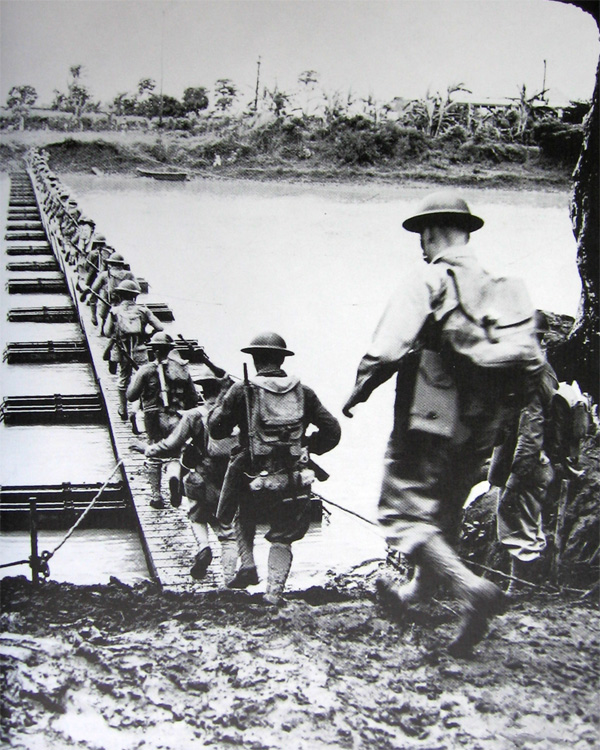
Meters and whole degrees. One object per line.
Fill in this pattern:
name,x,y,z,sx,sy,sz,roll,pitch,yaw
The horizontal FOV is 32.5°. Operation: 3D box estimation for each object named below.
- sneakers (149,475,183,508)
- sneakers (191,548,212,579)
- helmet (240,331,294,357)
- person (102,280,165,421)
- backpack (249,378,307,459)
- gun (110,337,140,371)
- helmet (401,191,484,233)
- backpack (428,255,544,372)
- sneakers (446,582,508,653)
sneakers,-0.837,0.738,6.422,0.126,0.304,0.140,14,23,3
sneakers,-0.613,1.182,6.449,0.125,0.187,0.087,20,3,-16
helmet,-0.206,-0.186,6.449,0.216,0.071,0.202,7,-3,-32
person,-1.165,-0.184,7.290,0.492,0.886,0.369,-1,1,6
backpack,-0.155,0.246,6.427,0.384,0.450,0.283,-3,5,-21
gun,-1.239,-0.141,7.211,0.227,0.210,0.074,-32,-4,26
helmet,0.899,-1.036,6.571,0.371,0.124,0.351,1,0,-38
backpack,1.146,-0.349,6.605,0.677,0.721,0.313,1,-20,-24
sneakers,1.129,1.543,6.552,0.504,0.264,0.185,-41,4,-24
